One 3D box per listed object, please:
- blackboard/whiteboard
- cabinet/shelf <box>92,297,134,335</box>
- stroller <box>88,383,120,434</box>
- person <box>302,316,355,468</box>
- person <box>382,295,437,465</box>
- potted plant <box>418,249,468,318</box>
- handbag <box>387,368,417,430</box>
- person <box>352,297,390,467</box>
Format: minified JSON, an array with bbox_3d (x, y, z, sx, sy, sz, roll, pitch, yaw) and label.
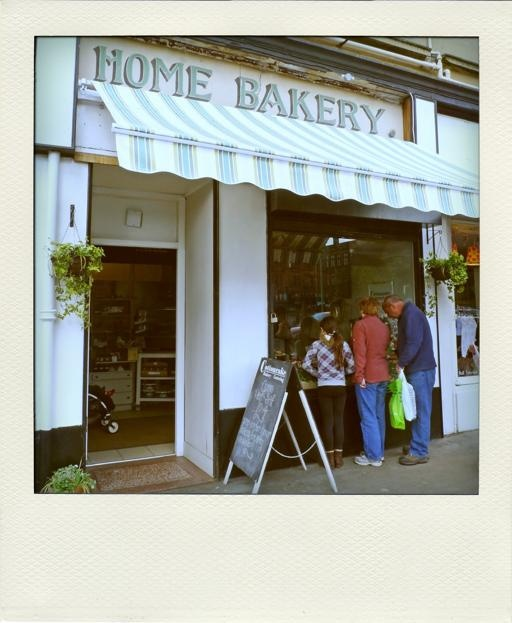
[{"bbox_3d":[0.022,0.959,4.975,0.418,1.082,0.670,1,-1,-26],"label":"blackboard/whiteboard"},{"bbox_3d":[-2.315,0.085,9.550,0.523,0.527,0.180,2,-8,-29],"label":"cabinet/shelf"},{"bbox_3d":[-1.780,1.121,6.932,0.451,0.622,0.517,2,-4,-17],"label":"stroller"},{"bbox_3d":[0.677,0.767,5.686,0.537,1.414,0.367,1,-1,-12],"label":"person"},{"bbox_3d":[1.538,0.617,5.886,0.482,1.577,0.523,-3,-6,-1],"label":"person"},{"bbox_3d":[2.115,-0.352,6.613,0.379,0.854,0.453,1,2,-20],"label":"potted plant"},{"bbox_3d":[1.398,0.842,5.720,0.241,0.556,0.178,0,-1,12],"label":"handbag"},{"bbox_3d":[1.064,0.741,5.753,0.402,1.318,0.489,0,0,-3],"label":"person"}]
